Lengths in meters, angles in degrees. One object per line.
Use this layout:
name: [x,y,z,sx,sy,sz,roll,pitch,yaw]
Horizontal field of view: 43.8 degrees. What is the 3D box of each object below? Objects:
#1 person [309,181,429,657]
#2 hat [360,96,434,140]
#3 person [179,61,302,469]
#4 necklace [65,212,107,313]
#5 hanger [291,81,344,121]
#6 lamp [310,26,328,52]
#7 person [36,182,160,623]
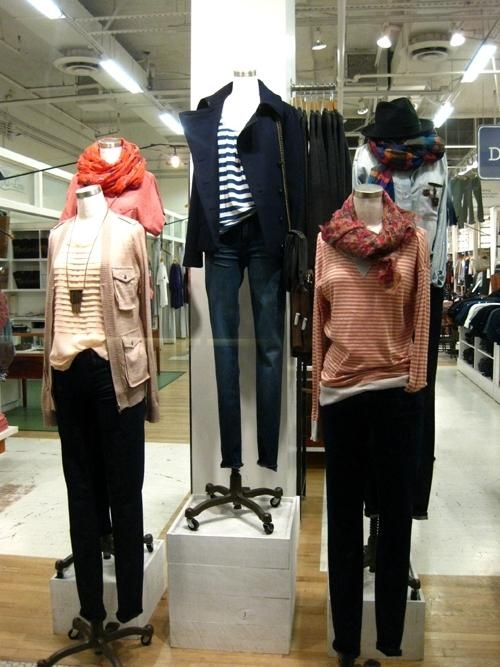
person: [0.319,0.279,1.709,0.303,1.363,0.191,1,5,8]
hat: [0.493,-0.716,2.055,0.168,0.083,0.212,0,42,23]
person: [-0.027,-0.199,2.143,0.407,1.381,0.205,1,5,11]
necklace: [-0.493,-0.204,1.861,0.126,0.299,0.120,1,5,6]
hanger: [0.268,-1.003,2.719,0.252,0.169,0.267,-2,3,-2]
lamp: [0.294,-1.285,2.674,0.051,0.098,0.056,-3,-3,5]
person: [-0.452,0.242,1.909,0.342,1.385,0.251,-1,5,-10]
